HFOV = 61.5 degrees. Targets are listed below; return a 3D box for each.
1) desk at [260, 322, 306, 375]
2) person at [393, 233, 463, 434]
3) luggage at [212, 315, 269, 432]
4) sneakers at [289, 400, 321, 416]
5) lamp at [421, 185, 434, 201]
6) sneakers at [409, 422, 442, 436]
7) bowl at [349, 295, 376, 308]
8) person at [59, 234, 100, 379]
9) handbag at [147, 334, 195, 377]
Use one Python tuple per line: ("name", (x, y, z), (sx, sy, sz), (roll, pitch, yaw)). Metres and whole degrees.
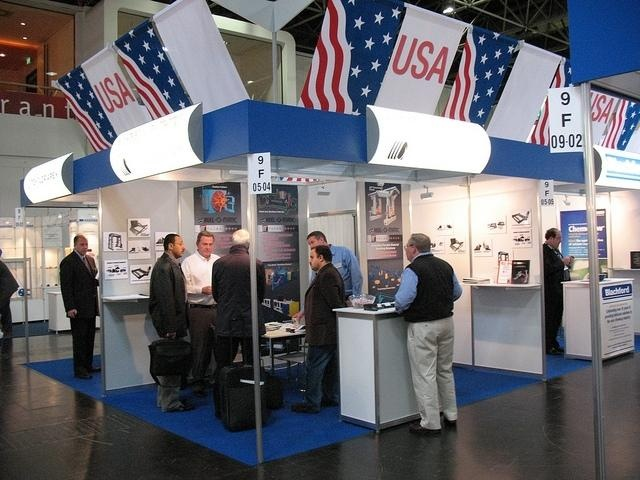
("desk", (-0.520, 1.298, 6.427), (0.373, 0.352, 0.391), (0, -18, 36))
("person", (1.019, 0.884, 5.210), (0.535, 1.879, 0.393), (-1, 1, 14))
("luggage", (-0.776, 1.314, 5.433), (0.436, 1.089, 0.409), (-3, -2, -8))
("sneakers", (-0.158, 1.793, 5.744), (0.238, 0.174, 0.126), (1, -3, 29))
("lamp", (1.514, -0.684, 7.662), (0.136, 0.198, 0.233), (-2, 2, -12))
("sneakers", (0.995, 1.764, 5.106), (0.263, 0.128, 0.104), (7, 3, 31))
("bowl", (0.418, 0.618, 5.495), (0.143, 0.083, 0.168), (-1, -2, -40))
("person", (-3.357, 0.923, 7.528), (0.476, 1.534, 0.404), (-3, 2, -37))
("handbag", (-1.618, 1.281, 5.810), (0.432, 0.414, 0.309), (3, -17, -33))
